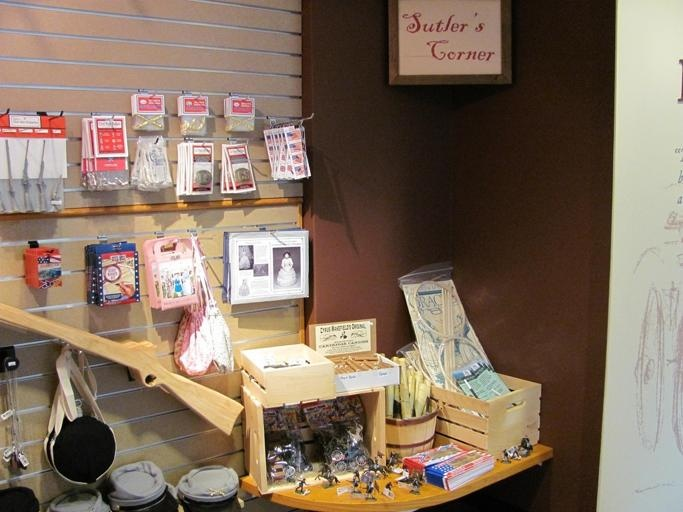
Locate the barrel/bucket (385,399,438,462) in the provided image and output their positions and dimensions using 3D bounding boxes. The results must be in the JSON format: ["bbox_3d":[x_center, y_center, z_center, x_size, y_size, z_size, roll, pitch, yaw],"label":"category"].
[{"bbox_3d":[0.401,0.961,2.883,0.246,0.200,0.227,-5,-2,0],"label":"barrel/bucket"}]

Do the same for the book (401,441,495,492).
[{"bbox_3d":[0.546,1.090,2.718,0.258,0.062,0.252,-12,13,-43],"label":"book"}]

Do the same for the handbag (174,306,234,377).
[{"bbox_3d":[-0.716,0.438,2.712,0.280,0.371,0.143,-6,-4,-8],"label":"handbag"}]
